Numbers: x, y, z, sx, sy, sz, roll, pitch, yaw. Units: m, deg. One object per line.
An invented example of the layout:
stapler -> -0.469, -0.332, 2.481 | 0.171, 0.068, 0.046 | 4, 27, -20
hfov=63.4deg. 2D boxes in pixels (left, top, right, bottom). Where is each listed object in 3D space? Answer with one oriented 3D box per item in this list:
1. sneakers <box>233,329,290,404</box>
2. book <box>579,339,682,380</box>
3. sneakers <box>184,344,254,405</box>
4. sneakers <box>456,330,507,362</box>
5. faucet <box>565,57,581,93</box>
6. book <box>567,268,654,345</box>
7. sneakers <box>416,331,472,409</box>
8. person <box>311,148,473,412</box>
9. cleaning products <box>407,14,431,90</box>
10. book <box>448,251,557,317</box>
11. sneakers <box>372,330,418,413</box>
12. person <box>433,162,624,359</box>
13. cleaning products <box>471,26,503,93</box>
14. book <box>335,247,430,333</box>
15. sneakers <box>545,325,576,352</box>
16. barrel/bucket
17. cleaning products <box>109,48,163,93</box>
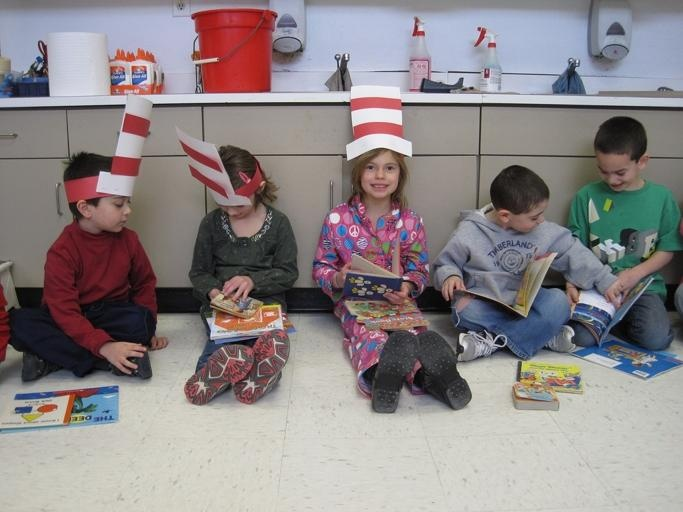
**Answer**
sneakers -> -0.244, 0.366, 1.836 | 0.139, 0.252, 0.097 | 30, -8, 25
book -> 1.047, 0.370, 2.016 | 0.269, 0.020, 0.292 | -12, 18, -36
sneakers -> -0.388, 0.374, 1.814 | 0.261, 0.128, 0.099 | -34, -18, -4
sneakers -> 0.501, 0.325, 2.017 | 0.234, 0.081, 0.097 | -11, 3, -16
faucet -> 1.124, -0.875, 2.678 | 0.065, 0.180, 0.257 | 4, 15, 21
book -> 1.021, 0.138, 2.099 | 0.244, 0.119, 0.307 | 28, 52, 15
sneakers -> 0.321, 0.356, 1.742 | 0.176, 0.230, 0.106 | 0, 15, 6
person -> 0.045, 0.059, 2.052 | 0.464, 0.777, 0.961 | -5, 21, -9
cleaning products -> 0.374, -0.979, 2.672 | 0.112, 0.357, 0.183 | 0, 15, 8
book -> 0.574, 0.104, 2.047 | 0.226, 0.260, 0.377 | 25, 0, 8
sneakers -> 0.159, 0.355, 1.761 | 0.111, 0.269, 0.116 | 16, -4, 2
person -> 0.758, -0.036, 2.398 | 0.822, 0.899, 0.693 | -3, 2, -28
cleaning products -> 0.720, -0.962, 2.696 | 0.142, 0.316, 0.155 | -1, 15, 4
book -> 0.149, 0.061, 1.974 | 0.278, 0.331, 0.320 | -5, 28, 6
sneakers -> 0.818, 0.312, 2.095 | 0.055, 0.067, 0.158 | -2, 9, -11
barrel/bucket -> -0.422, -0.831, 2.308 | 0.363, 0.276, 0.345 | 1, 18, 0
cleaning products -> -0.904, -0.808, 2.517 | 0.248, 0.226, 0.230 | 0, 20, -8
